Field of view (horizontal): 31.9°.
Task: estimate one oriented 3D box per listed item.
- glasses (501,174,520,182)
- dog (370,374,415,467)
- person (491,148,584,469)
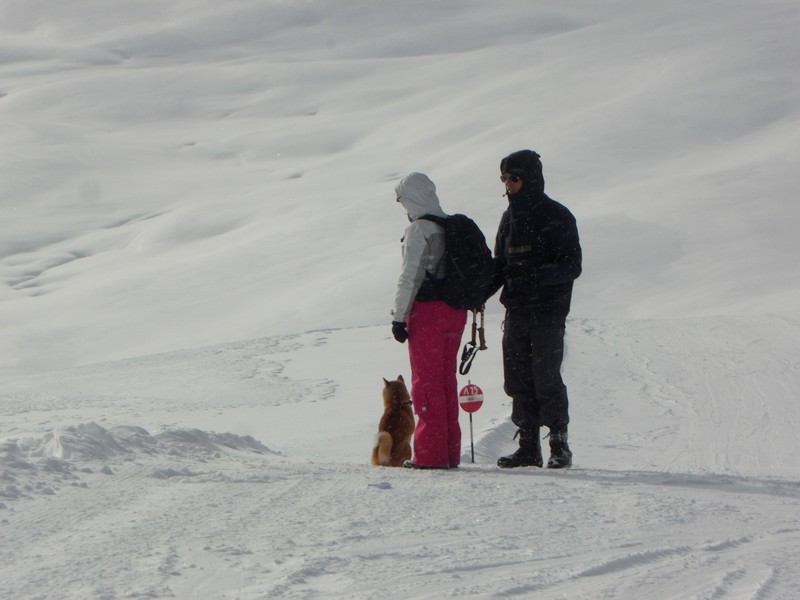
[{"bbox_3d":[0.900,-1.035,11.723,0.095,0.086,0.030,-5,17,32],"label":"glasses"},{"bbox_3d":[-0.051,1.077,12.085,0.298,0.841,0.484,1,-25,7],"label":"dog"},{"bbox_3d":[1.109,0.147,11.693,0.718,2.741,1.083,1,15,4],"label":"person"}]
